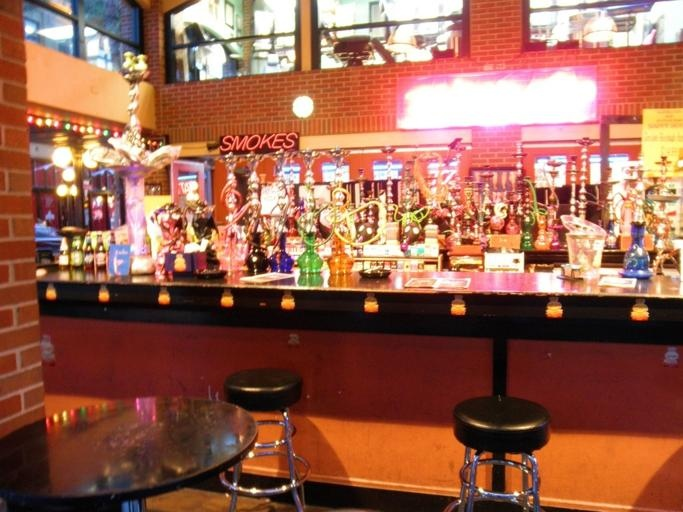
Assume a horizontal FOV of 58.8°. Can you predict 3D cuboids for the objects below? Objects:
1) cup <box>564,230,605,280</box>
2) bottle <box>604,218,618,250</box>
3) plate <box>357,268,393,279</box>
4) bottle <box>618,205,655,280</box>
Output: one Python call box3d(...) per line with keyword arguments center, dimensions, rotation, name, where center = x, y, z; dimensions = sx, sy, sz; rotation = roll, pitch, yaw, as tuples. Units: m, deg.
box3d(center=(1.369, -0.012, 3.447), dimensions=(0.229, 0.263, 0.234), rotation=(1, 3, 0), name="cup")
box3d(center=(2.525, -0.215, 5.654), dimensions=(0.098, 0.248, 0.326), rotation=(3, 14, 25), name="bottle")
box3d(center=(0.186, 0.098, 3.531), dimensions=(0.184, 0.065, 0.125), rotation=(-2, 12, 8), name="plate")
box3d(center=(1.711, -0.095, 3.500), dimensions=(0.156, 0.421, 0.364), rotation=(3, 14, 25), name="bottle")
